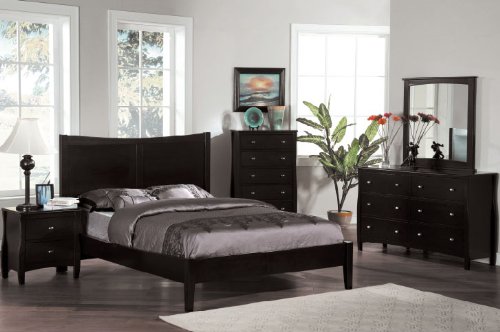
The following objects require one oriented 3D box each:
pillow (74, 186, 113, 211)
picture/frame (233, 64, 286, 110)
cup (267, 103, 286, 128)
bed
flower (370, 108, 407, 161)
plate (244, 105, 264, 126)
[{"bbox_3d":[-1.663,0.358,4.627,0.309,0.089,0.328,-5,11,-32],"label":"pillow"},{"bbox_3d":[0.101,-1.198,6.475,0.820,0.617,0.061,-1,1,-15],"label":"picture/frame"},{"bbox_3d":[0.318,-0.749,6.439,0.369,0.357,0.345,0,-1,0],"label":"cup"},{"bbox_3d":[-0.585,0.447,4.591,1.785,1.340,2.661,-5,7,-40],"label":"bed"},{"bbox_3d":[1.849,-0.481,5.810,0.475,0.513,0.440,1,-4,-20],"label":"flower"},{"bbox_3d":[0.079,-0.752,6.444,0.319,0.327,0.187,0,3,-10],"label":"plate"}]
